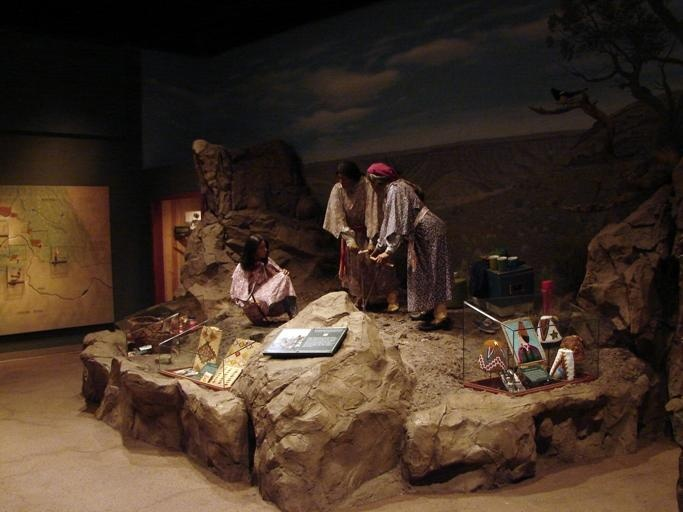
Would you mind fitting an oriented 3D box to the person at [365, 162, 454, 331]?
[{"bbox_3d":[0.891,-0.020,6.438,0.862,1.825,0.322,-2,2,8],"label":"person"}]

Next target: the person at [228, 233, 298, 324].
[{"bbox_3d":[-1.114,0.359,7.492,0.889,1.141,0.721,-7,13,5],"label":"person"}]

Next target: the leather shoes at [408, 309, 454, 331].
[{"bbox_3d":[1.144,0.787,6.524,0.373,0.138,0.227,4,3,-17],"label":"leather shoes"}]

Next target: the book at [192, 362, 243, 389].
[{"bbox_3d":[-1.372,1.291,5.800,0.547,0.240,0.256,-2,1,26],"label":"book"}]
